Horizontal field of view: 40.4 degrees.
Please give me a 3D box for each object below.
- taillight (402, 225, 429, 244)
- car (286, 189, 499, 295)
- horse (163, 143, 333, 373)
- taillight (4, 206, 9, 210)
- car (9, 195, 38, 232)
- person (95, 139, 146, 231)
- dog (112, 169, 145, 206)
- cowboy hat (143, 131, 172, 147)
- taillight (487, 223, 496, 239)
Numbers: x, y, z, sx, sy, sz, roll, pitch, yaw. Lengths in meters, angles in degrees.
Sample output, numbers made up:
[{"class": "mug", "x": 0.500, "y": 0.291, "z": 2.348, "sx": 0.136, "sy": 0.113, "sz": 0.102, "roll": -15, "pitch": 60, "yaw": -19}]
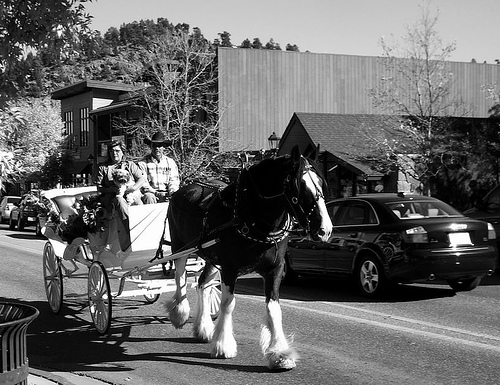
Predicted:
[{"class": "taillight", "x": 3.014, "y": 0.766, "z": 12.232, "sx": 0.459, "sy": 0.278, "sz": 0.114, "roll": 1, "pitch": 0, "yaw": 10}, {"class": "car", "x": 2.800, "y": 0.919, "z": 13.380, "sx": 1.968, "sy": 1.448, "sz": 4.463, "roll": 1, "pitch": -1, "yaw": -34}, {"class": "horse", "x": -0.232, "y": 0.925, "z": 9.856, "sx": 1.151, "sy": 3.002, "sz": 3.984, "roll": 4, "pitch": -2, "yaw": -33}, {"class": "taillight", "x": -15.543, "y": 0.981, "z": 42.886, "sx": 0.353, "sy": 0.223, "sz": 0.090, "roll": 0, "pitch": -1, "yaw": 40}, {"class": "car", "x": -12.020, "y": 1.165, "z": 36.939, "sx": 1.806, "sy": 1.427, "sz": 3.402, "roll": 0, "pitch": 6, "yaw": -34}, {"class": "person", "x": -2.249, "y": -0.018, "z": 11.579, "sx": 0.802, "sy": 1.679, "sz": 0.829, "roll": -9, "pitch": 2, "yaw": -28}, {"class": "dog", "x": -2.107, "y": -0.085, "z": 11.391, "sx": 0.359, "sy": 0.591, "sz": 0.690, "roll": 1, "pitch": -1, "yaw": 26}, {"class": "cowboy hat", "x": -1.680, "y": -0.986, "z": 12.454, "sx": 0.351, "sy": 0.244, "sz": 0.520, "roll": 1, "pitch": -1, "yaw": -18}, {"class": "taillight", "x": 4.657, "y": 0.735, "z": 12.992, "sx": 0.136, "sy": 0.241, "sz": 0.619, "roll": 1, "pitch": -1, "yaw": 20}]
